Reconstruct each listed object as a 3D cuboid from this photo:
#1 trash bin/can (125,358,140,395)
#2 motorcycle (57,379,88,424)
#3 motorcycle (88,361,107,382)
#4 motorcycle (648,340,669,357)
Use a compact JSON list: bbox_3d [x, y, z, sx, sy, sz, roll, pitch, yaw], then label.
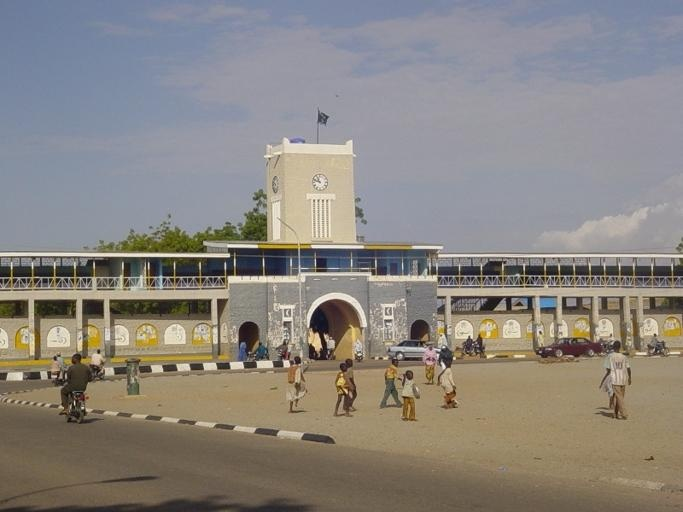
[{"bbox_3d":[-8.161,4.896,44.054,0.467,1.469,0.574,0,2,-15],"label":"trash bin/can"},{"bbox_3d":[-8.753,5.067,36.953,0.647,1.032,1.066,0,2,-17],"label":"motorcycle"},{"bbox_3d":[-11.590,5.679,53.693,0.940,1.114,1.728,1,-3,-5],"label":"motorcycle"},{"bbox_3d":[19.268,5.729,67.789,1.278,0.776,0.788,-1,-1,-5],"label":"motorcycle"}]
